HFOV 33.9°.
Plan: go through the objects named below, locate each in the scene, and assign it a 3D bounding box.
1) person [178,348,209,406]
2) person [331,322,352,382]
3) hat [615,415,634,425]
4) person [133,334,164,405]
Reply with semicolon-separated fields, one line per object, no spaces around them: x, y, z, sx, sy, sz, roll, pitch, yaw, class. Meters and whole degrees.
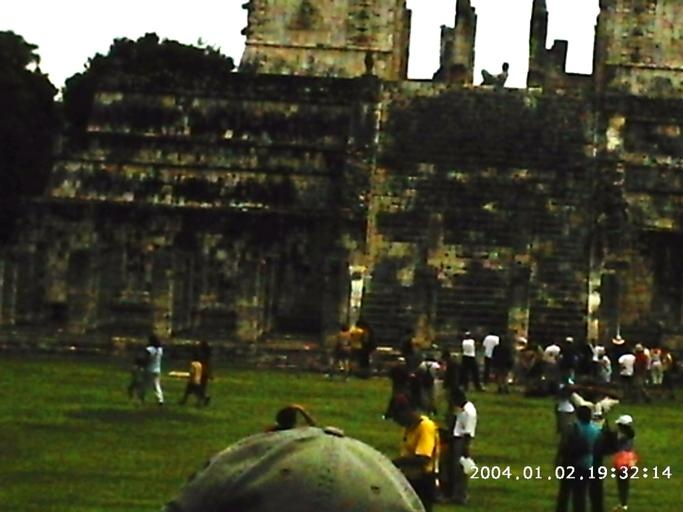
-3.354;2.727;26.146;0.666;1.480;0.998;7;-8;-11;person
0.030;2.533;29.664;0.486;1.448;1.445;5;-7;0;person
5.590;3.198;21.924;0.348;0.158;0.479;-3;-5;35;hat
-4.324;2.612;25.872;0.582;1.549;0.455;5;-8;5;person
